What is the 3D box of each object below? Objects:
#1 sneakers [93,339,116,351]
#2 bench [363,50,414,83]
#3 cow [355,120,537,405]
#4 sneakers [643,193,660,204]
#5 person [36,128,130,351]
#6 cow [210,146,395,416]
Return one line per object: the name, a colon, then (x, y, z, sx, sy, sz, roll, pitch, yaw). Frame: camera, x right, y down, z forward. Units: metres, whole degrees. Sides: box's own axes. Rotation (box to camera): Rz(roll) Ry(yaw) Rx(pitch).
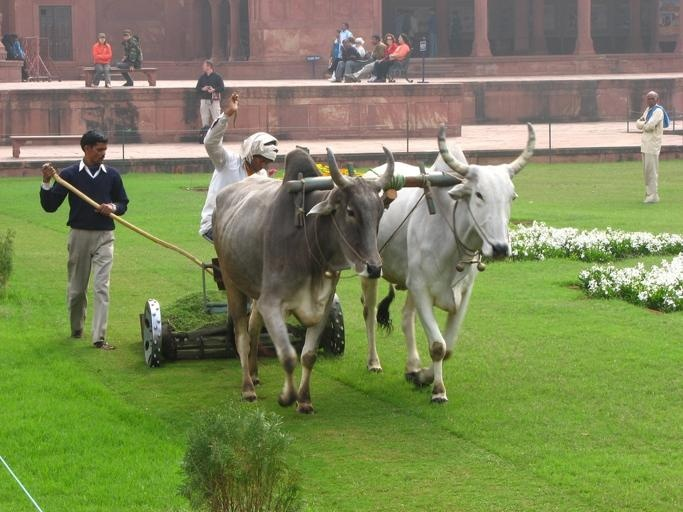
sneakers: (-3.613, 1.323, 23.601, 0.298, 0.127, 0.160, 4, 2, -3)
bench: (1.407, -5.882, 47.054, 1.290, 1.205, 1.727, -1, 3, -1)
cow: (1.349, 0.250, 23.324, 1.650, 3.727, 5.096, 4, -2, -16)
sneakers: (6.544, -1.241, 32.605, 0.150, 0.290, 0.420, 4, 9, 28)
person: (-3.856, -0.268, 23.524, 1.214, 3.277, 0.827, -1, 4, -8)
cow: (-0.629, 0.314, 22.107, 2.694, 3.748, 1.119, 2, 5, 39)
